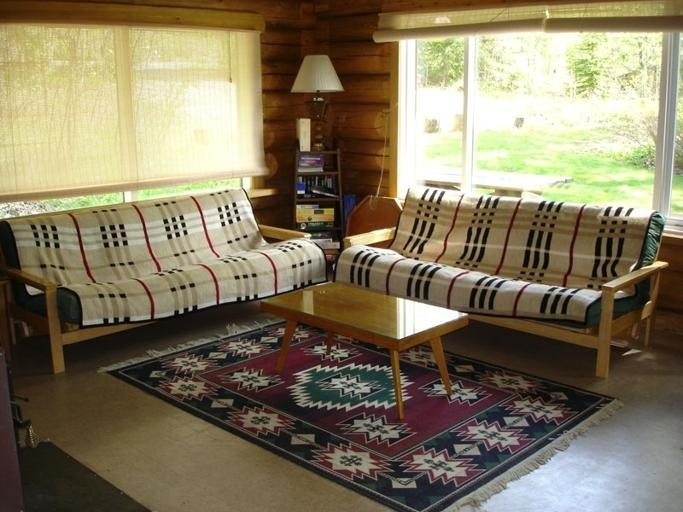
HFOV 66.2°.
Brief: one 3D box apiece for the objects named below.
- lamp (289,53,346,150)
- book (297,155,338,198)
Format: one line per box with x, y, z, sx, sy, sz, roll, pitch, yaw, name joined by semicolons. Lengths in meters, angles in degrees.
-0.233;-1.544;5.306;0.547;0.936;0.810;-3;18;-3;lamp
-0.255;-0.828;5.325;0.478;0.479;0.153;2;52;-3;book
